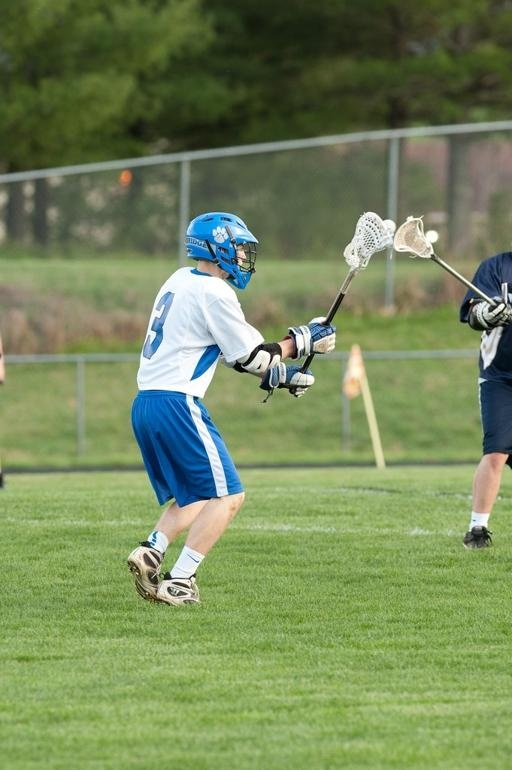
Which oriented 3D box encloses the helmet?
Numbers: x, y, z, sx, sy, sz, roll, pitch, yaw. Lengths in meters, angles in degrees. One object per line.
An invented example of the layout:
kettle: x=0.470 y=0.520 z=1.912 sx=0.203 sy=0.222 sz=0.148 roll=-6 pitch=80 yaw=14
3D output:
helmet: x=-0.150 y=-0.622 z=5.349 sx=0.257 sy=0.350 sz=0.312 roll=6 pitch=13 yaw=39

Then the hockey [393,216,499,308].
hockey: x=0.956 y=-0.626 z=5.950 sx=0.501 sy=0.432 sz=0.572 roll=5 pitch=7 yaw=15

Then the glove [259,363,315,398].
glove: x=0.139 y=-0.020 z=5.312 sx=0.218 sy=0.095 sz=0.148 roll=-3 pitch=-12 yaw=-10

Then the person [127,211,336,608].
person: x=-0.169 y=0.098 z=5.262 sx=1.121 sy=1.594 sz=0.652 roll=0 pitch=1 yaw=-15
